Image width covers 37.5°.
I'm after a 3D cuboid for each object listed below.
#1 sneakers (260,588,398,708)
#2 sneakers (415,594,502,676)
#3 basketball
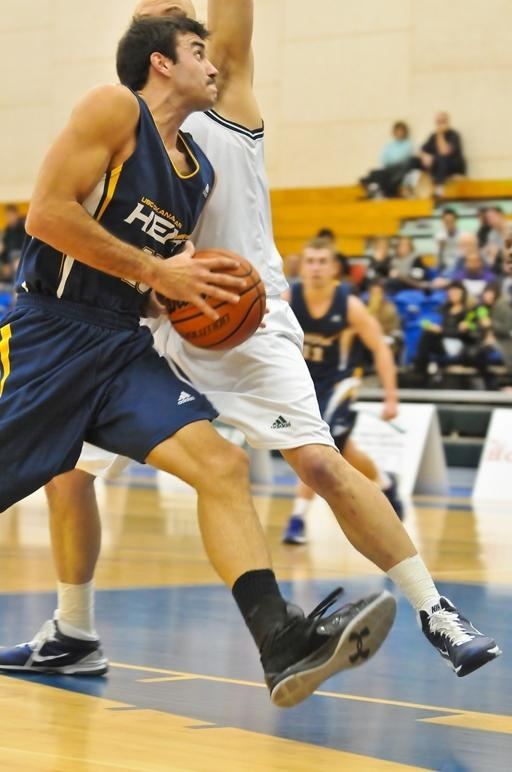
[{"bbox_3d":[0.121,0.443,1.284,0.240,0.175,0.113,-9,14,-39],"label":"sneakers"},{"bbox_3d":[0.372,0.465,1.445,0.073,0.098,0.220,-42,5,-3],"label":"sneakers"},{"bbox_3d":[-0.065,-0.172,1.524,0.203,0.213,0.204,1,5,-3],"label":"basketball"}]
